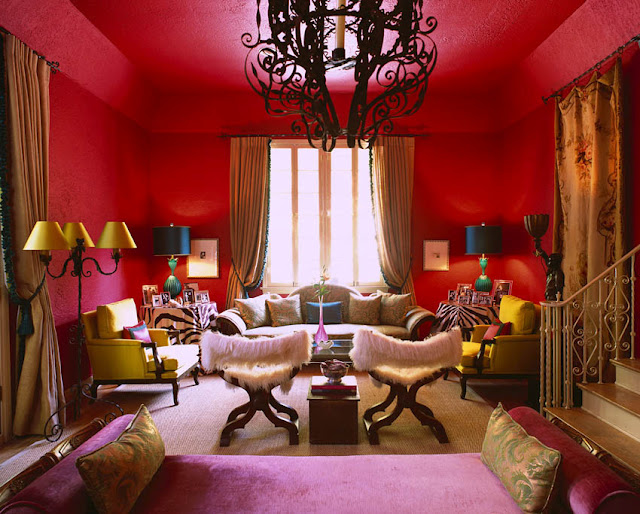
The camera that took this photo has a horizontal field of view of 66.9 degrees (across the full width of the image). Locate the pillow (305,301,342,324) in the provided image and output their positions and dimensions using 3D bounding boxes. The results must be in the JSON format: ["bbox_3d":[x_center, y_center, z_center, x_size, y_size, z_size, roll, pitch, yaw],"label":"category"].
[{"bbox_3d":[0.055,0.781,6.711,0.311,0.242,0.125,-1,-37,5],"label":"pillow"}]

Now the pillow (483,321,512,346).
[{"bbox_3d":[2.005,0.874,5.472,0.077,0.209,0.218,16,-10,-5],"label":"pillow"}]

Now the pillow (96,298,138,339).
[{"bbox_3d":[-2.306,0.718,5.524,0.121,0.257,0.379,-2,3,14],"label":"pillow"}]

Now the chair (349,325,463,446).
[{"bbox_3d":[0.760,1.047,4.727,1.075,1.305,0.957,-1,-1,3],"label":"chair"}]

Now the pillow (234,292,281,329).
[{"bbox_3d":[-0.899,0.729,6.628,0.122,0.431,0.417,-32,-20,35],"label":"pillow"}]

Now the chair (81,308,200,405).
[{"bbox_3d":[-2.004,1.125,5.809,1.109,1.230,0.944,0,-3,0],"label":"chair"}]

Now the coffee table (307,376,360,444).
[{"bbox_3d":[0.107,1.432,4.397,0.356,0.366,0.556,-1,-5,3],"label":"coffee table"}]

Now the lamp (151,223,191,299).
[{"bbox_3d":[-2.118,0.069,7.034,0.493,1.044,0.602,-2,5,-15],"label":"lamp"}]

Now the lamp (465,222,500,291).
[{"bbox_3d":[2.360,0.016,7.072,0.490,0.962,0.669,1,5,11],"label":"lamp"}]

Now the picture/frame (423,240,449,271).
[{"bbox_3d":[1.783,-0.040,7.474,0.390,0.542,0.034,1,0,-4],"label":"picture/frame"}]

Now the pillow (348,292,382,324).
[{"bbox_3d":[0.639,0.745,6.818,0.334,0.364,0.132,-1,-20,19],"label":"pillow"}]

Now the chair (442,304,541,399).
[{"bbox_3d":[2.045,1.032,5.924,0.904,1.344,1.218,1,-6,8],"label":"chair"}]

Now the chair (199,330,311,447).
[{"bbox_3d":[-0.550,1.047,4.694,1.068,1.274,0.963,1,-2,-5],"label":"chair"}]

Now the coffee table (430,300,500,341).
[{"bbox_3d":[1.986,0.874,6.670,0.574,0.352,0.498,2,-6,-5],"label":"coffee table"}]
